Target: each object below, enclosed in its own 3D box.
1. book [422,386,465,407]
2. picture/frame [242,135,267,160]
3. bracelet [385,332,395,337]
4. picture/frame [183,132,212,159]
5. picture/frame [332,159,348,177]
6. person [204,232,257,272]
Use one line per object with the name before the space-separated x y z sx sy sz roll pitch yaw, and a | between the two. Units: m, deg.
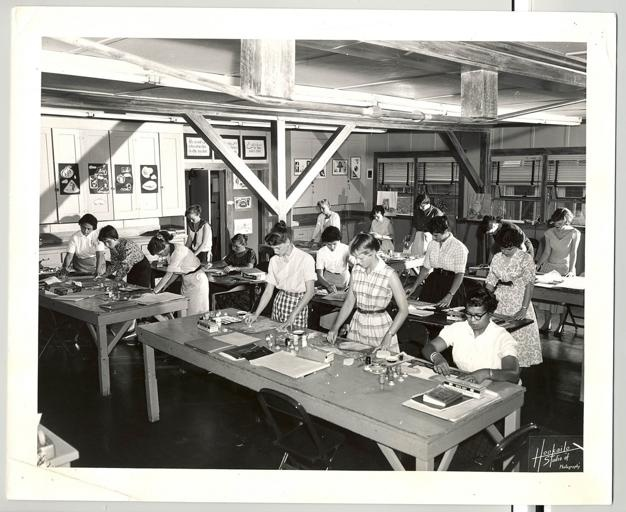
book | 0.905 0.969 3.535 0.310 0.038 0.183 -4 12 -16
picture/frame | -1.493 -2.741 13.003 0.061 0.771 0.895 8 8 42
bracelet | 0.687 0.692 4.587 0.072 0.019 0.072 -2 4 -3
picture/frame | -2.677 -2.552 12.057 0.217 0.549 0.784 6 13 31
picture/frame | 0.806 -2.578 15.061 0.134 0.465 0.637 8 14 36
person | -1.395 -0.098 9.034 0.646 1.097 0.645 0 4 -39
